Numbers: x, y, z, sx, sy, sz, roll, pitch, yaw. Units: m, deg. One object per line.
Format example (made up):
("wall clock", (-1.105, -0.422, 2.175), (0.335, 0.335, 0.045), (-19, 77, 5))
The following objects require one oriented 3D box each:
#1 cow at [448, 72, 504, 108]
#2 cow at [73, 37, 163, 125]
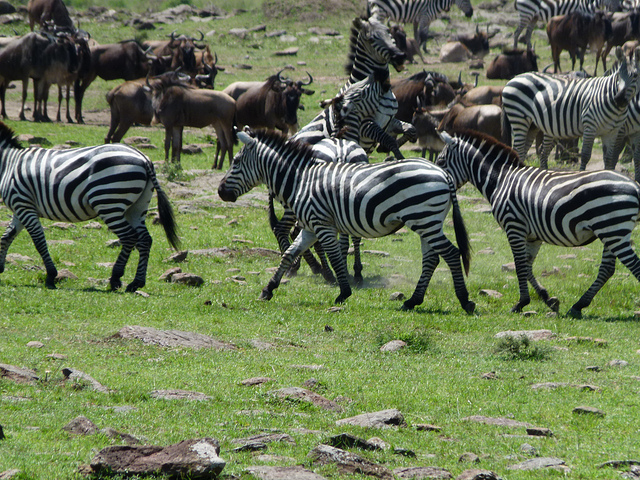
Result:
("cow", (4.326, -3.858, 31.547), (1.363, 1.236, 0.532), (-5, 35, -11))
("cow", (-6.191, -4.912, 36.843), (3.605, 2.237, 0.871), (-12, 23, -40))
